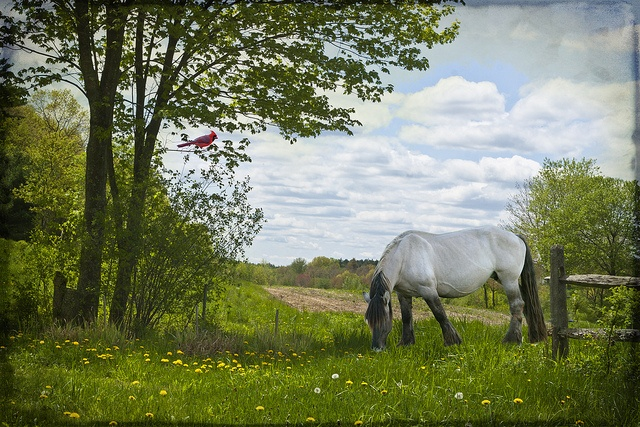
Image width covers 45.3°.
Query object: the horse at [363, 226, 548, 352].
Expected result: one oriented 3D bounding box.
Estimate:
[{"bbox_3d":[3.207,1.749,18.398,4.365,2.848,0.899,1,-3,-19],"label":"horse"}]
